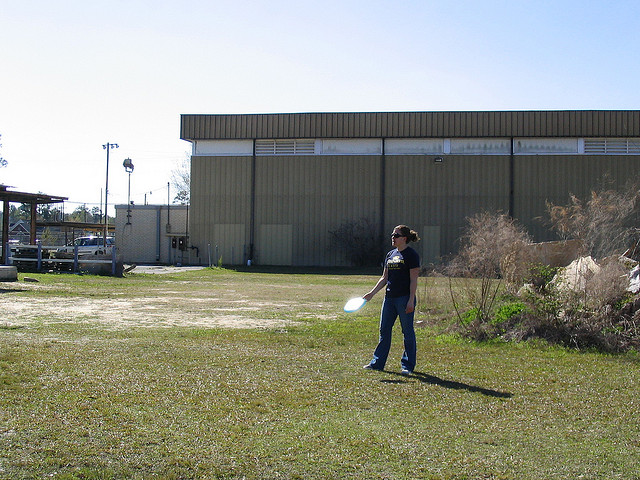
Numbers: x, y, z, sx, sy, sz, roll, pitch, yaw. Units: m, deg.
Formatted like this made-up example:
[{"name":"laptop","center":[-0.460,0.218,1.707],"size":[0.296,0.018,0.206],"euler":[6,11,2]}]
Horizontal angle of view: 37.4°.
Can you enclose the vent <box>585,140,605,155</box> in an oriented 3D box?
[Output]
[{"name":"vent","center":[12.550,-4.334,43.139],"size":[0.883,0.671,0.243],"euler":[5,15,15]}]

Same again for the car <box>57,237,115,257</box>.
[{"name":"car","center":[-11.045,0.231,45.225],"size":[1.885,1.023,1.071],"euler":[3,0,3]}]
